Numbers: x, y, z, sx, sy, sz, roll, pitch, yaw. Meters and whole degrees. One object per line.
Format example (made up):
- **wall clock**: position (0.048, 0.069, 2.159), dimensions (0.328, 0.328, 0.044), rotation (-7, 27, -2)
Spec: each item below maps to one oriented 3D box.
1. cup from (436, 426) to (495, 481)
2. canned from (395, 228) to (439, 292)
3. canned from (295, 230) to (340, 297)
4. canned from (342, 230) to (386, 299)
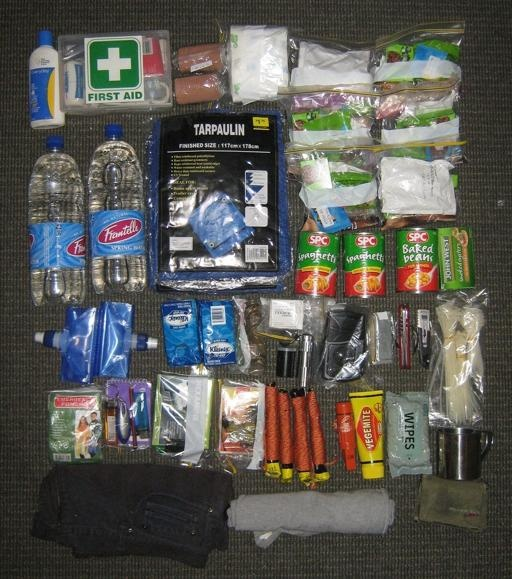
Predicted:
- **cup**: position (0.544, 0.433, 1.696), dimensions (0.158, 0.121, 0.148), rotation (-1, 85, 9)
- **canned**: position (0.440, -0.057, 1.746), dimensions (0.129, 0.106, 0.203), rotation (-3, 60, 12)
- **canned**: position (0.162, -0.047, 1.734), dimensions (0.128, 0.128, 0.202), rotation (-1, 62, 5)
- **canned**: position (0.302, -0.053, 1.730), dimensions (0.112, 0.112, 0.185), rotation (-3, 72, 9)
